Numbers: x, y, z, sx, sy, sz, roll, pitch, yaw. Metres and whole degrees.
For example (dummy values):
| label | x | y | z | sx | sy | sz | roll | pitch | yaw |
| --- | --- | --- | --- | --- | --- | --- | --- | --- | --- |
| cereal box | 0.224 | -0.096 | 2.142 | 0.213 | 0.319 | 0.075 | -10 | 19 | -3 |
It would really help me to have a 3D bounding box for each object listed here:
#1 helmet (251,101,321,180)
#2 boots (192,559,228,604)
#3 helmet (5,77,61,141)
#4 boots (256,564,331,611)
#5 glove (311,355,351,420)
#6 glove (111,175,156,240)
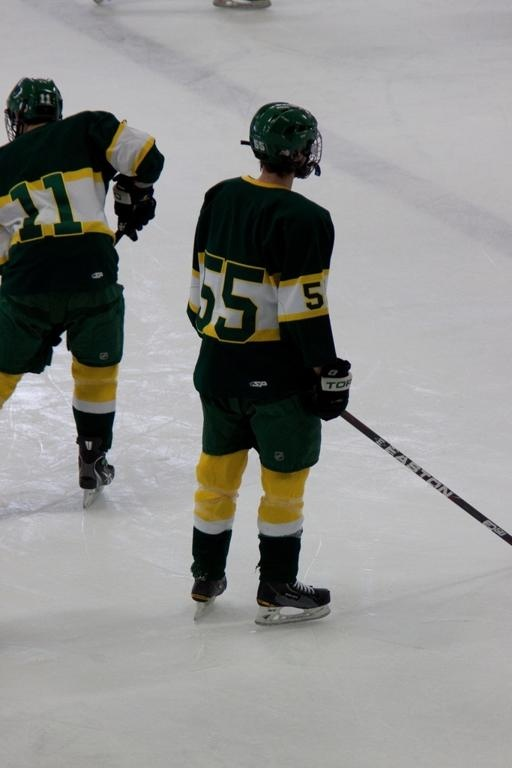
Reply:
| label | x | y | z | sx | sy | sz | roll | pitch | yaw |
| --- | --- | --- | --- | --- | --- | --- | --- | --- | --- |
| helmet | 0.078 | -0.608 | 2.042 | 0.170 | 0.183 | 0.223 | 23 | 34 | 38 |
| boots | -0.128 | 0.554 | 2.299 | 0.061 | 0.161 | 0.068 | 14 | 51 | 0 |
| helmet | -0.744 | -0.955 | 2.831 | 0.207 | 0.206 | 0.234 | -2 | 20 | -16 |
| boots | 0.098 | 0.569 | 2.325 | 0.273 | 0.151 | 0.081 | -1 | 3 | -12 |
| glove | 0.184 | 0.007 | 2.059 | 0.107 | 0.166 | 0.120 | 1 | 33 | -9 |
| glove | -0.435 | -0.643 | 3.020 | 0.165 | 0.231 | 0.108 | 16 | 30 | 18 |
